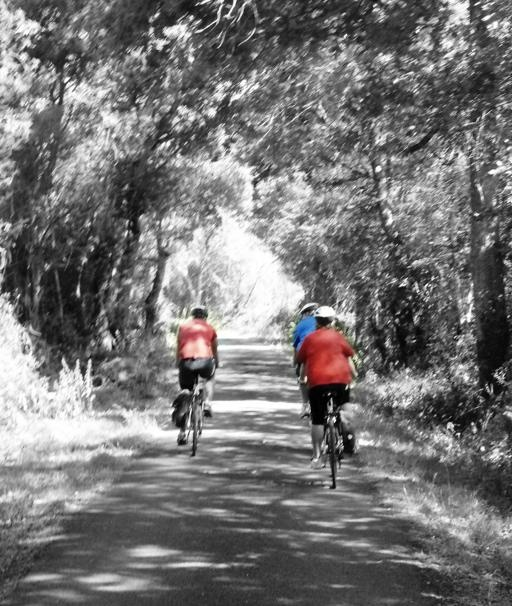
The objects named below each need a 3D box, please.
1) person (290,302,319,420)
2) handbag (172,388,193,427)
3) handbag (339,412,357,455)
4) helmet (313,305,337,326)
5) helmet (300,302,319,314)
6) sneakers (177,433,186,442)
[{"bbox_3d":[0.866,0.909,14.724,0.497,1.940,0.511,1,21,10],"label":"person"},{"bbox_3d":[-0.931,1.282,11.264,0.117,0.391,0.264,20,-18,-26],"label":"handbag"},{"bbox_3d":[0.916,1.335,9.230,0.139,0.412,0.199,0,0,30],"label":"handbag"},{"bbox_3d":[0.723,0.143,9.718,0.162,0.244,0.249,-2,-33,12],"label":"helmet"},{"bbox_3d":[0.872,0.090,14.777,0.241,0.098,0.249,-16,9,-24],"label":"helmet"},{"bbox_3d":[-0.917,1.642,11.211,0.090,0.138,0.082,1,3,21],"label":"sneakers"}]
